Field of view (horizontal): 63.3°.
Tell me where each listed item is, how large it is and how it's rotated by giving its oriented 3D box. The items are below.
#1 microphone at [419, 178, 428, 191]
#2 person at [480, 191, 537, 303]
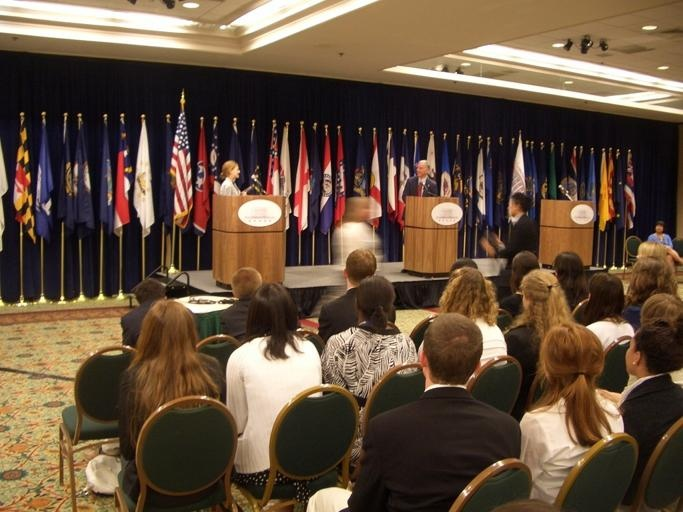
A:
[{"bbox_3d":[1.329,-1.137,9.040,0.162,0.227,0.097,3,7,23],"label":"microphone"},{"bbox_3d":[2.364,0.261,7.823,0.646,2.256,0.683,3,1,41],"label":"person"}]
